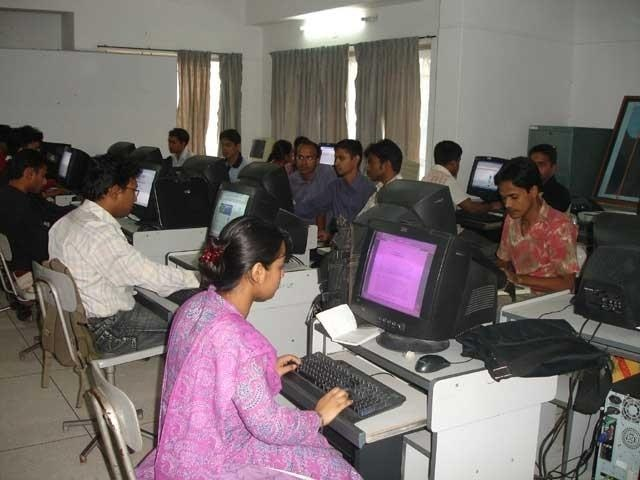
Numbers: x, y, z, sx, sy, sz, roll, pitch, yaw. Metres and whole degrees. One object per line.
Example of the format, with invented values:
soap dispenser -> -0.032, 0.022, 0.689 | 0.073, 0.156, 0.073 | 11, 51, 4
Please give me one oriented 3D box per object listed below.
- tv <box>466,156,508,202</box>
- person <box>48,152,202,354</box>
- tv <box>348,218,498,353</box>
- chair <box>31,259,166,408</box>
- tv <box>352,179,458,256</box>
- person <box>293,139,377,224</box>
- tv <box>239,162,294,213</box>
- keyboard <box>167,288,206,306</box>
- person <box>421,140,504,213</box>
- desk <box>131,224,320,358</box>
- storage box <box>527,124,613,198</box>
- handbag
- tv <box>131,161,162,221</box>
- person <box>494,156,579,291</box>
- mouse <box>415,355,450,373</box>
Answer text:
tv -> 1.876, -0.686, 5.542 | 0.420, 0.453, 0.243 | 9, -2, 5
person -> -1.132, 0.155, 2.951 | 0.785, 1.264, 0.739 | 0, 10, -17
tv -> 0.474, 0.201, 2.231 | 0.530, 0.534, 0.558 | -3, 10, -23
chair -> -1.199, 0.492, 2.730 | 0.630, 0.812, 0.565 | -3, 15, -40
tv -> 0.384, -0.135, 2.403 | 0.379, 0.427, 0.406 | 2, 5, -18
person -> 0.209, -0.452, 4.376 | 0.787, 0.840, 0.492 | 5, 5, 40
tv -> -0.425, -0.380, 3.667 | 0.367, 0.384, 0.298 | 16, 12, 38
keyboard -> -0.639, 0.269, 2.302 | 0.135, 0.045, 0.152 | 9, 15, 38
person -> 1.274, -0.585, 4.741 | 0.461, 0.675, 0.875 | -8, 18, -19
desk -> -0.644, 0.475, 3.240 | 1.002, 0.730, 0.706 | 6, 15, 23
storage box -> 2.907, -0.922, 5.770 | 0.449, 0.869, 0.586 | -7, 15, -12
handbag -> 0.864, 0.433, 1.977 | 0.339, 0.105, 0.308 | -5, 14, -10
tv -> -1.380, -0.379, 3.933 | 0.216, 0.535, 0.489 | 2, 0, -34
person -> 1.265, -0.109, 2.906 | 0.403, 0.803, 0.512 | -26, 26, -35
mouse -> 0.439, 0.483, 1.930 | 0.160, 0.035, 0.078 | -9, 19, -32
